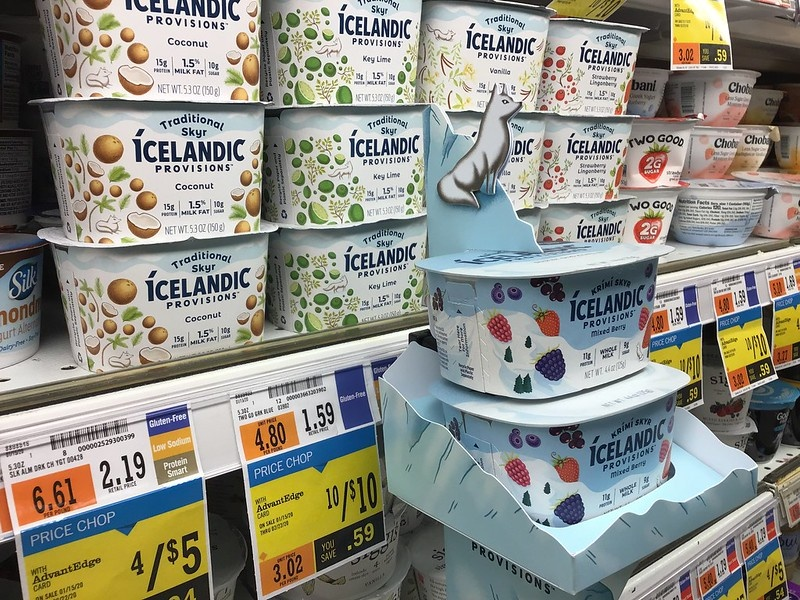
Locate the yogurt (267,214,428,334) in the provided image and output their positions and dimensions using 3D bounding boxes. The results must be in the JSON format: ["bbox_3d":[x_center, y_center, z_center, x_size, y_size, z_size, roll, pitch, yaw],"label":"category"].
[{"bbox_3d":[-0.112,-0.074,1.270,0.363,0.203,0.310,-11,12,-36],"label":"yogurt"}]

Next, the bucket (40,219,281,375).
[{"bbox_3d":[-0.424,-0.037,1.069,0.278,0.223,0.395,19,21,40],"label":"bucket"}]

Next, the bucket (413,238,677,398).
[{"bbox_3d":[0.245,0.017,0.985,0.384,0.202,0.304,-11,12,-36],"label":"bucket"}]

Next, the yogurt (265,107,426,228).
[{"bbox_3d":[-0.105,-0.277,1.209,0.320,0.214,0.248,-10,13,-34],"label":"yogurt"}]

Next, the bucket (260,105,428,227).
[{"bbox_3d":[-0.105,-0.274,1.218,0.336,0.222,0.286,-8,11,-21],"label":"bucket"}]

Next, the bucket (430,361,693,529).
[{"bbox_3d":[0.257,0.201,0.894,0.222,0.119,0.290,-3,12,14],"label":"bucket"}]

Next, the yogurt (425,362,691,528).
[{"bbox_3d":[0.260,0.210,0.894,0.222,0.120,0.291,-4,12,14],"label":"yogurt"}]

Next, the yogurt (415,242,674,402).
[{"bbox_3d":[0.245,0.019,0.984,0.386,0.200,0.299,-10,12,-34],"label":"yogurt"}]

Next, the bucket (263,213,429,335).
[{"bbox_3d":[-0.113,-0.075,1.264,0.368,0.204,0.317,-12,12,-38],"label":"bucket"}]

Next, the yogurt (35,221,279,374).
[{"bbox_3d":[-0.413,-0.049,1.078,0.401,0.228,0.274,-12,28,-42],"label":"yogurt"}]
